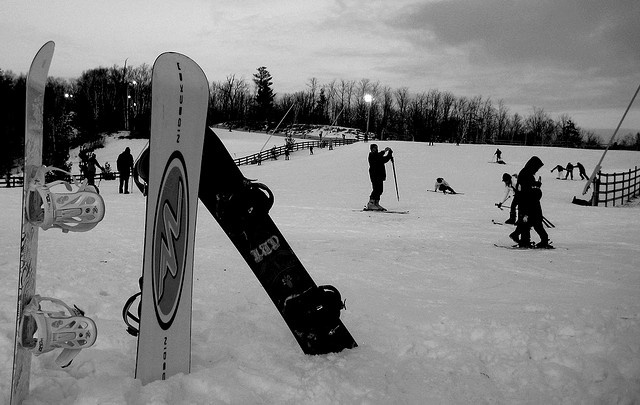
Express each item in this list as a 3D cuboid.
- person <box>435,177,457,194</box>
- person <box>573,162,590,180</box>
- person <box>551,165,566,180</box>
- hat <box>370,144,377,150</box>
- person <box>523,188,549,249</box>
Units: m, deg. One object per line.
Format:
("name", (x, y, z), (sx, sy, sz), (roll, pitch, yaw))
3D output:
("person", (5.758, -0.720, 20.330), (0.850, 0.700, 1.369), (3, 12, 13))
("person", (17.838, -2.052, 30.114), (0.662, 0.453, 2.548), (11, -24, 32))
("person", (16.219, -1.970, 29.951), (0.365, 1.166, 1.086), (-21, 20, -41))
("hat", (1.600, -1.606, 12.942), (0.152, 0.190, 0.170), (0, 1, -1))
("person", (4.754, 0.400, 9.714), (0.368, 1.282, 1.235), (2, -2, 12))
